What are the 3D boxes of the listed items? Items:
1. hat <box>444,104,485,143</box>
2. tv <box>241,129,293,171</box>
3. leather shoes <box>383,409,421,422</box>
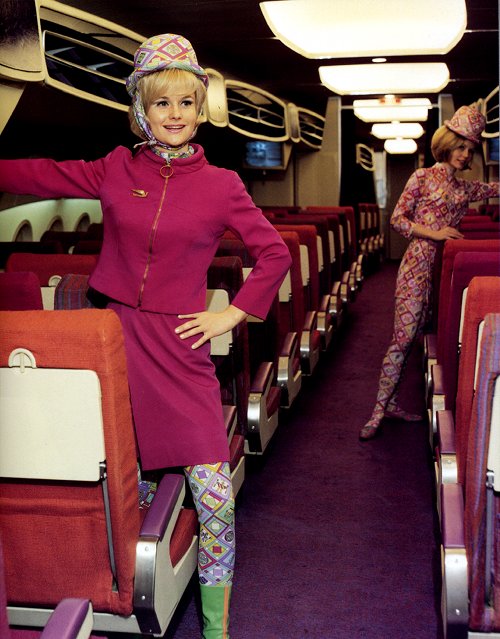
[{"bbox_3d":[1.074,-0.976,2.666,0.191,0.187,0.128,1,9,8],"label":"hat"},{"bbox_3d":[0.326,-3.243,10.317,0.911,0.530,0.634,2,3,-15],"label":"tv"},{"bbox_3d":[0.931,0.595,3.327,0.246,0.112,0.083,-3,4,13],"label":"leather shoes"}]
